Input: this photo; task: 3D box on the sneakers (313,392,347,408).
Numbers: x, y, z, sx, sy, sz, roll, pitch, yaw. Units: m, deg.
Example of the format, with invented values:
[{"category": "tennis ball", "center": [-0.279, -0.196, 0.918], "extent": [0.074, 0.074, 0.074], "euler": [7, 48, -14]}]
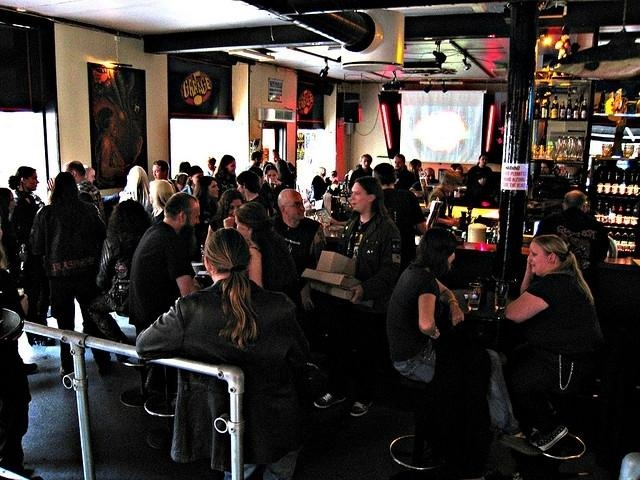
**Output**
[{"category": "sneakers", "center": [0.079, 1.286, 4.249], "extent": [0.258, 0.083, 0.093], "euler": [10, 31, -50]}]

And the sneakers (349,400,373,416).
[{"category": "sneakers", "center": [0.322, 1.332, 4.212], "extent": [0.148, 0.054, 0.218], "euler": [6, 10, 13]}]

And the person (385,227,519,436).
[{"category": "person", "center": [0.922, 0.600, 3.562], "extent": [0.738, 1.358, 0.697], "euler": [11, 12, 41]}]
